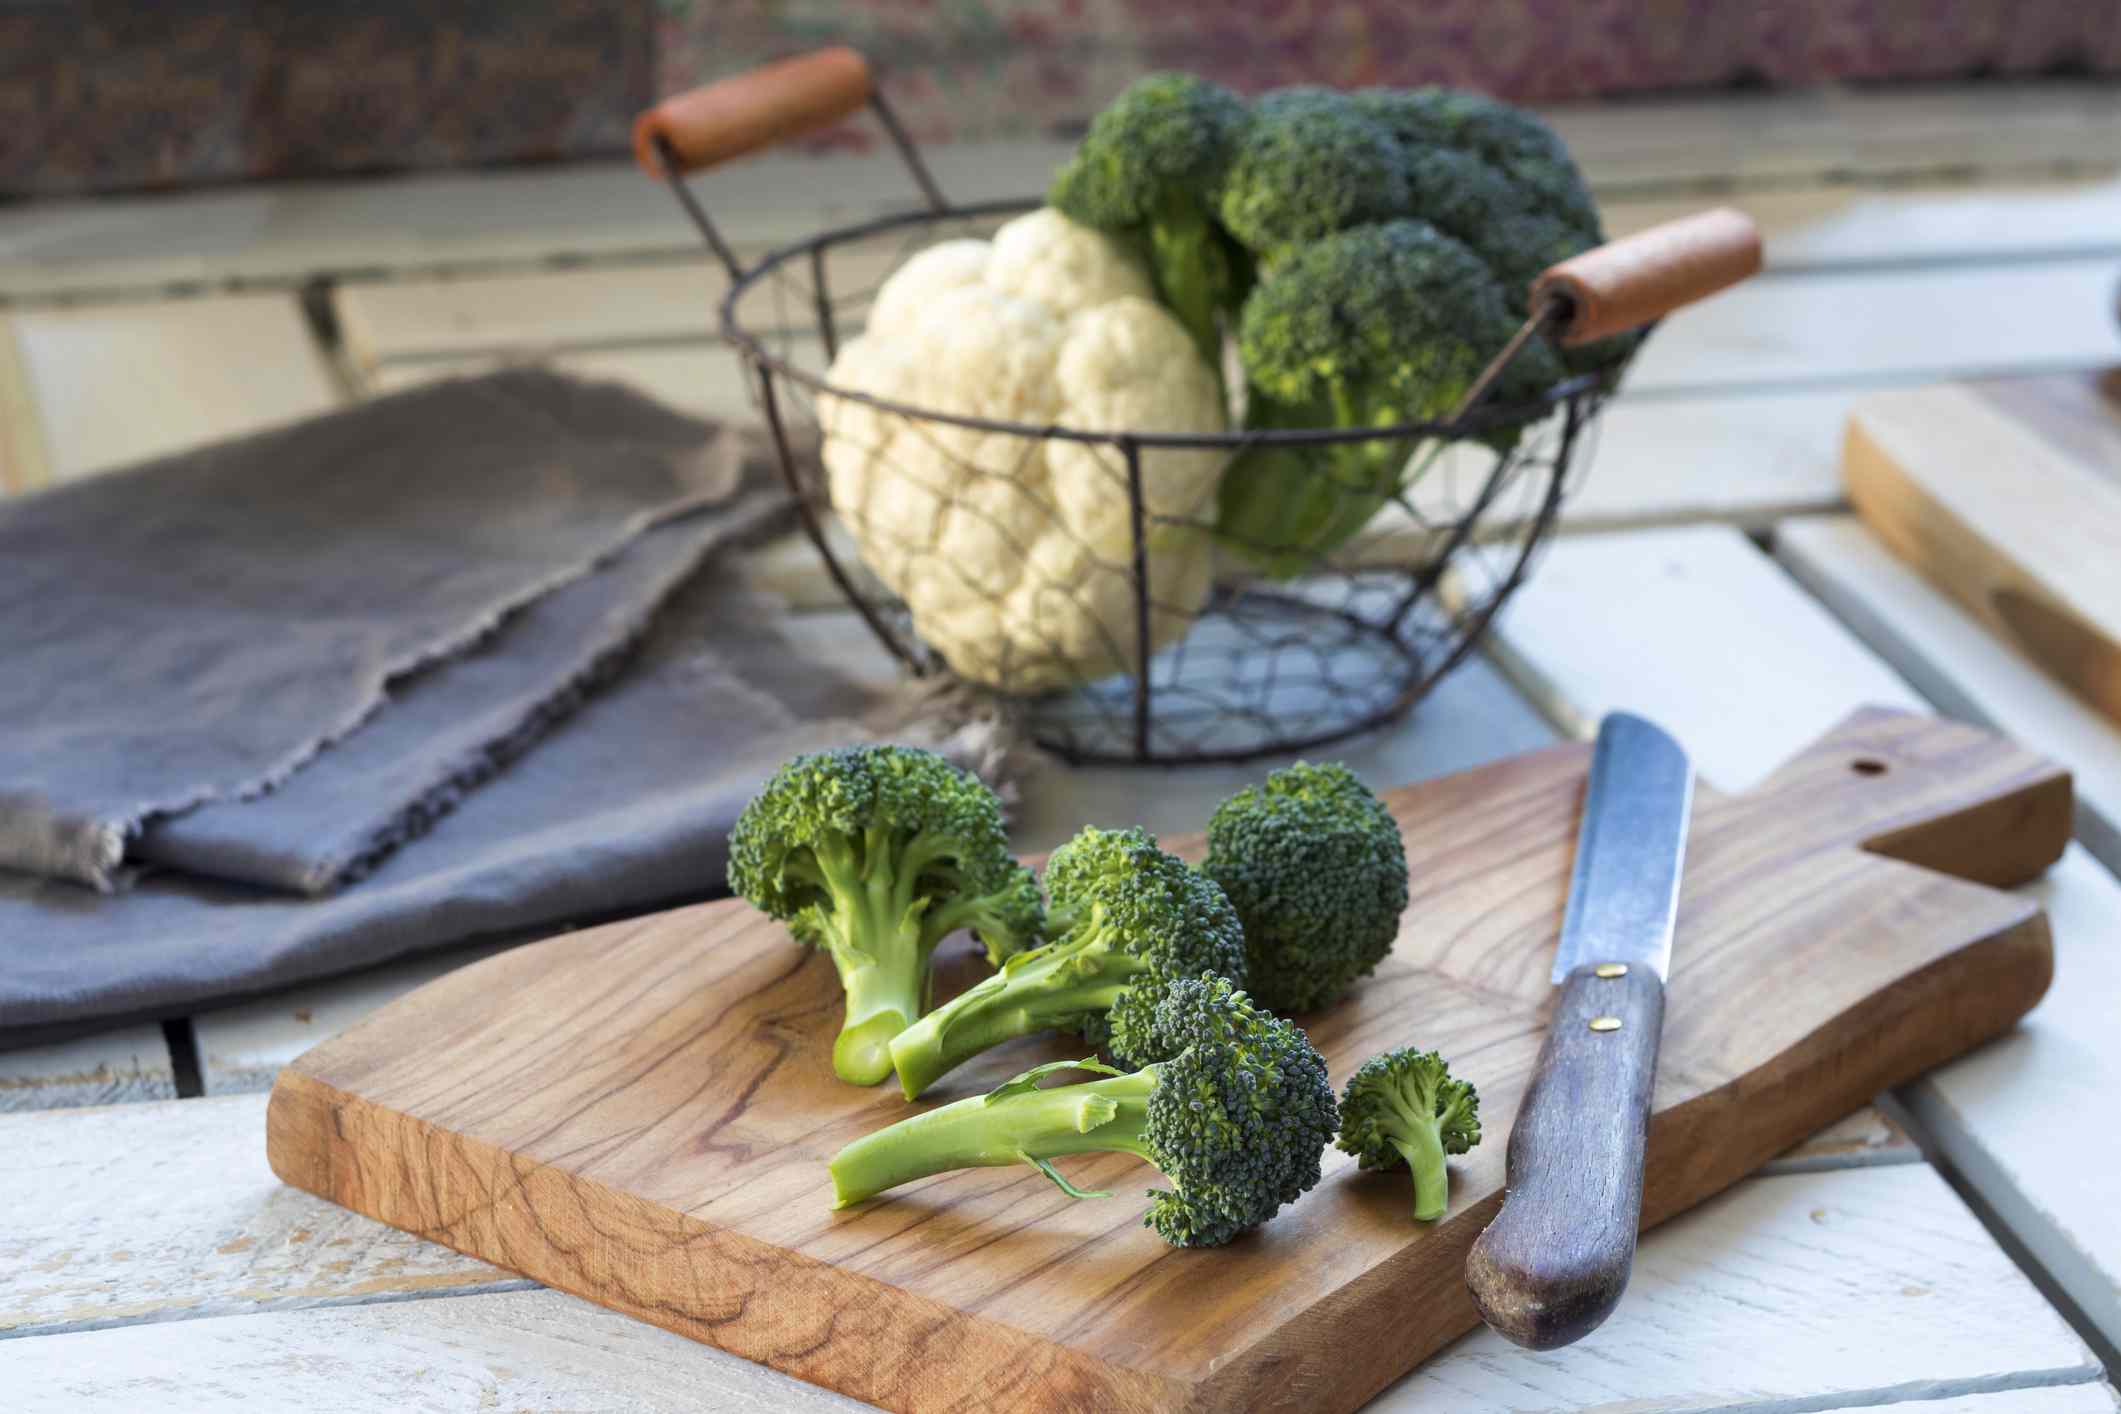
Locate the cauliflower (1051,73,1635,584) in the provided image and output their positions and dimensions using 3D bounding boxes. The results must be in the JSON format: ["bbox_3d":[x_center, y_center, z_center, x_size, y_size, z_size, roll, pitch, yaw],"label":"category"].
[{"bbox_3d":[0.177,-0.275,1.249,0.350,0.198,0.188,-5,37,-2],"label":"cauliflower"}]

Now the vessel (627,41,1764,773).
[{"bbox_3d":[0.093,-0.212,1.286,0.626,0.359,0.542,20,36,38],"label":"vessel"}]

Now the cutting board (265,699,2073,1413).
[{"bbox_3d":[0.126,0.187,1.098,0.685,0.057,0.421,-15,23,-35],"label":"cutting board"}]

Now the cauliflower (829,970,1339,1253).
[{"bbox_3d":[0.011,0.214,0.998,0.254,0.143,0.149,-11,3,6],"label":"cauliflower"}]

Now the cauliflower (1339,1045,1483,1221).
[{"bbox_3d":[0.176,0.215,0.995,0.059,0.069,0.082,2,57,-3],"label":"cauliflower"}]

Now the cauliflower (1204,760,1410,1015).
[{"bbox_3d":[0.148,0.109,1.136,0.130,0.141,0.115,9,7,0],"label":"cauliflower"}]

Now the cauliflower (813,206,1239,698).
[{"bbox_3d":[-0.021,-0.155,1.273,0.257,0.320,0.123,0,12,5],"label":"cauliflower"}]
